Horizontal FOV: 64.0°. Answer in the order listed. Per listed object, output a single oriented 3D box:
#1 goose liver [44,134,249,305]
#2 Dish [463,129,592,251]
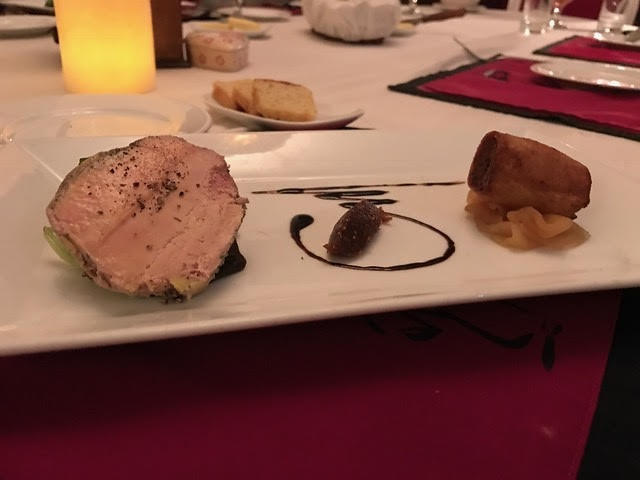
[{"bbox_3d":[-0.263,-0.044,0.810,0.261,0.160,0.269,8,32,13],"label":"goose liver"},{"bbox_3d":[0.421,-0.113,1.034,0.338,0.122,0.245,19,8,-9],"label":"Dish"}]
